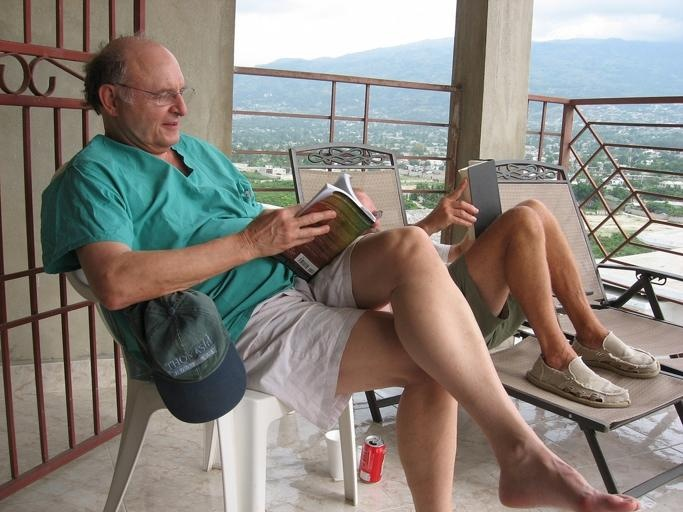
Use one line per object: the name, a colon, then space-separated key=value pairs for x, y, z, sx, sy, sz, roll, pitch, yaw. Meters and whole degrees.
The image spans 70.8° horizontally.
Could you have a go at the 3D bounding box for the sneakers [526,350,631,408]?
sneakers: x=0.867 y=0.458 z=1.797 sx=0.344 sy=0.120 sz=0.150 roll=7 pitch=13 yaw=25

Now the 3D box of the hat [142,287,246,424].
hat: x=-0.418 y=0.262 z=1.317 sx=0.242 sy=0.353 sz=0.155 roll=-28 pitch=-7 yaw=-26

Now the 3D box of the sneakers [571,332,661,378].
sneakers: x=1.102 y=0.410 z=1.975 sx=0.348 sy=0.130 sz=0.162 roll=6 pitch=21 yaw=25

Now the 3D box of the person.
person: x=-0.337 y=-0.081 z=1.832 sx=2.296 sy=1.248 sz=1.194 roll=4 pitch=20 yaw=15

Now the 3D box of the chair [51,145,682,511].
chair: x=0.046 y=0.123 z=1.687 sx=1.628 sy=1.002 sz=0.957 roll=-2 pitch=6 yaw=14
